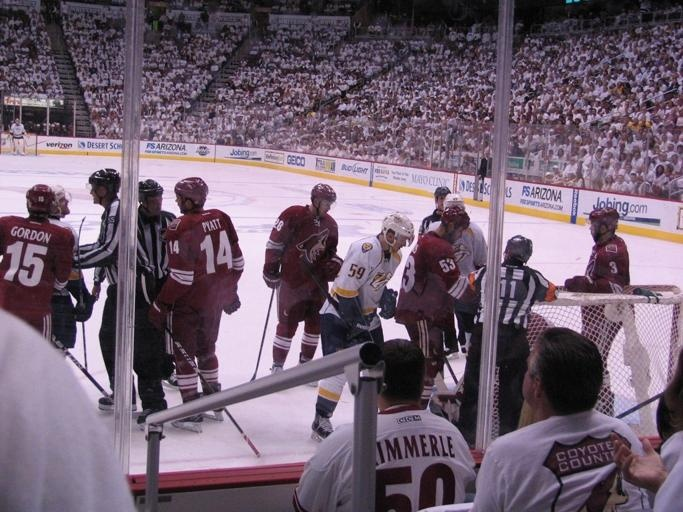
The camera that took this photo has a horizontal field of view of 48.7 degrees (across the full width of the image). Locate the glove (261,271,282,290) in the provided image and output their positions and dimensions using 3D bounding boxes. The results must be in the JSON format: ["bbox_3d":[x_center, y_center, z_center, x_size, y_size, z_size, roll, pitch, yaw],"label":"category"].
[{"bbox_3d":[-0.480,0.162,5.215,0.112,0.113,0.098,0,10,21],"label":"glove"}]

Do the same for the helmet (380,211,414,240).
[{"bbox_3d":[0.331,-0.187,4.484,0.160,0.153,0.134,-2,10,10],"label":"helmet"}]

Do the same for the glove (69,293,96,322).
[{"bbox_3d":[-1.574,0.323,4.712,0.097,0.176,0.167,21,-6,-2],"label":"glove"}]

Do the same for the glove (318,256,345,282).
[{"bbox_3d":[-0.071,0.077,5.058,0.125,0.180,0.069,23,-3,29],"label":"glove"}]

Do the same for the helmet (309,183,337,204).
[{"bbox_3d":[-0.128,-0.428,4.978,0.135,0.133,0.111,13,23,15],"label":"helmet"}]

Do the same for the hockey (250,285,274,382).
[{"bbox_3d":[-0.616,0.605,5.876,0.072,0.688,0.099,14,23,-20],"label":"hockey"}]

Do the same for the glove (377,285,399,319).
[{"bbox_3d":[0.293,0.282,4.741,0.053,0.185,0.135,9,-9,26],"label":"glove"}]

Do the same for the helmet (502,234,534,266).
[{"bbox_3d":[1.025,-0.042,4.430,0.153,0.166,0.201,5,7,12],"label":"helmet"}]

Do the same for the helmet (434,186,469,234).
[{"bbox_3d":[0.695,-0.371,4.941,0.156,0.196,0.197,-2,4,-20],"label":"helmet"}]

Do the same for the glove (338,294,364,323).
[{"bbox_3d":[0.053,0.322,4.516,0.159,0.180,0.064,4,6,-1],"label":"glove"}]
